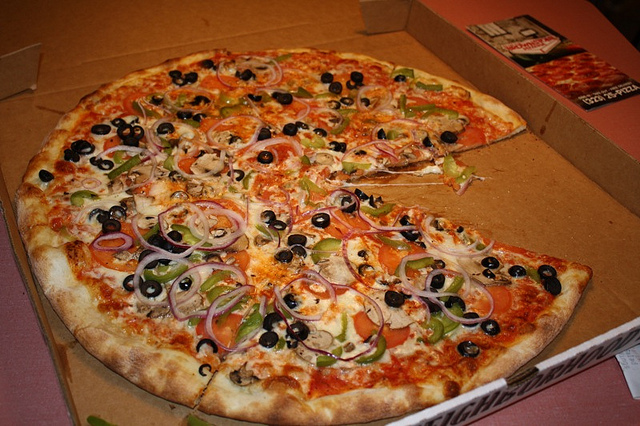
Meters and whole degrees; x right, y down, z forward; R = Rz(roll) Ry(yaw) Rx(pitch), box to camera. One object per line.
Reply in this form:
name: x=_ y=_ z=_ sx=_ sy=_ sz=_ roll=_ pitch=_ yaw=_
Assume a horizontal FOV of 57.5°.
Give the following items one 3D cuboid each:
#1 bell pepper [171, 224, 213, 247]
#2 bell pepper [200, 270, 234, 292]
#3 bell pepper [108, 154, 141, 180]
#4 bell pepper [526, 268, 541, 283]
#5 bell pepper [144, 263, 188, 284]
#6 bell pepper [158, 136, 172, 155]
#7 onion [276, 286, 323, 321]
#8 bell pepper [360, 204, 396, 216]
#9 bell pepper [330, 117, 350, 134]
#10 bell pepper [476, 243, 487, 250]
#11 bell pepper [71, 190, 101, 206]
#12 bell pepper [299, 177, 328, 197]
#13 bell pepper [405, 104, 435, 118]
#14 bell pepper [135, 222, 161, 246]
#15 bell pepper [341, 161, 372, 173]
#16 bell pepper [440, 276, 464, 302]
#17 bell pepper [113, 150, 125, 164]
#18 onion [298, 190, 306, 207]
bell pepper: x=-0.840 y=0.149 z=3.807 sx=0.236 sy=0.047 sz=0.128 roll=30 pitch=37 yaw=-3
bell pepper: x=-0.619 y=0.417 z=3.698 sx=0.266 sy=0.070 sz=0.061 roll=-28 pitch=80 yaw=-32
bell pepper: x=-1.394 y=-0.323 z=4.163 sx=0.218 sy=0.052 sz=0.056 roll=-43 pitch=60 yaw=-15
bell pepper: x=1.407 y=0.405 z=3.856 sx=0.064 sy=0.024 sz=0.093 roll=-13 pitch=57 yaw=-8
bell pepper: x=-0.978 y=0.377 z=3.704 sx=0.223 sy=0.061 sz=0.118 roll=-21 pitch=38 yaw=-18
bell pepper: x=-1.142 y=-0.492 z=4.301 sx=0.077 sy=0.036 sz=0.129 roll=-8 pitch=69 yaw=-13
onion: x=-0.145 y=0.582 z=3.631 sx=0.309 sy=0.080 sz=0.131 roll=31 pitch=31 yaw=9
bell pepper: x=0.407 y=-0.020 z=4.064 sx=0.266 sy=0.063 sz=0.083 roll=-5 pitch=38 yaw=-9
bell pepper: x=0.148 y=-0.661 z=4.511 sx=0.084 sy=0.046 sz=0.158 roll=35 pitch=83 yaw=18
bell pepper: x=1.087 y=0.226 z=3.969 sx=0.049 sy=0.027 sz=0.049 roll=11 pitch=34 yaw=30
bell pepper: x=-1.634 y=-0.098 z=4.036 sx=0.127 sy=0.041 sz=0.129 roll=-2 pitch=39 yaw=-49
bell pepper: x=-0.055 y=-0.180 z=4.207 sx=0.221 sy=0.059 sz=0.098 roll=25 pitch=60 yaw=2
bell pepper: x=0.773 y=-0.825 z=4.682 sx=0.258 sy=0.066 sz=0.097 roll=-21 pitch=101 yaw=-5
bell pepper: x=-1.127 y=0.141 z=3.815 sx=0.187 sy=0.049 sz=0.051 roll=-37 pitch=29 yaw=-23
bell pepper: x=0.256 y=-0.348 z=4.311 sx=0.184 sy=0.078 sz=0.054 roll=-7 pitch=34 yaw=-14
bell pepper: x=0.858 y=0.458 z=3.729 sx=0.066 sy=0.075 sz=0.250 roll=26 pitch=55 yaw=35
bell pepper: x=-1.455 y=-0.404 z=4.211 sx=0.074 sy=0.028 sz=0.091 roll=-7 pitch=82 yaw=-18
onion: x=-0.133 y=-0.104 z=4.125 sx=0.035 sy=0.029 sz=0.126 roll=17 pitch=50 yaw=-2
